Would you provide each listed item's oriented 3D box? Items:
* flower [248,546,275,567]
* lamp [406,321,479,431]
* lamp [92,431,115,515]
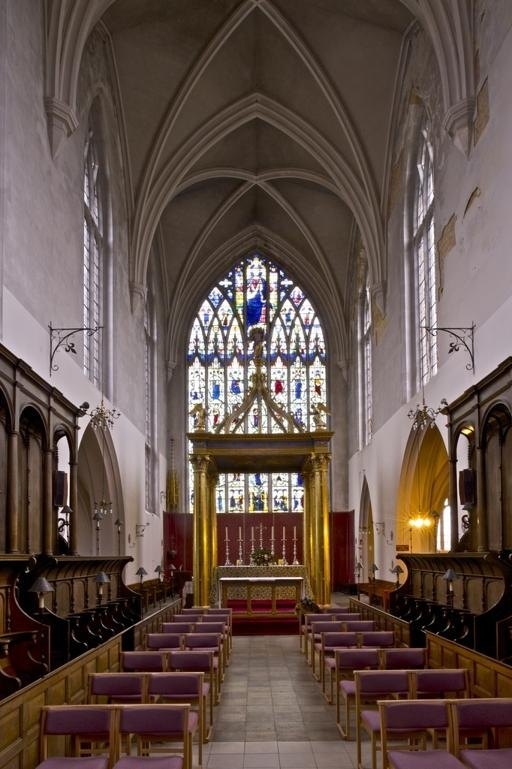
[{"bbox_3d":[0.145,4.602,18.872,0.555,0.382,0.573,-2,-10,4],"label":"flower"},{"bbox_3d":[4.059,-0.228,15.455,1.197,2.971,0.709,-4,-35,31],"label":"lamp"},{"bbox_3d":[-3.749,2.283,17.399,0.515,2.022,2.104,1,-10,-12],"label":"lamp"}]
